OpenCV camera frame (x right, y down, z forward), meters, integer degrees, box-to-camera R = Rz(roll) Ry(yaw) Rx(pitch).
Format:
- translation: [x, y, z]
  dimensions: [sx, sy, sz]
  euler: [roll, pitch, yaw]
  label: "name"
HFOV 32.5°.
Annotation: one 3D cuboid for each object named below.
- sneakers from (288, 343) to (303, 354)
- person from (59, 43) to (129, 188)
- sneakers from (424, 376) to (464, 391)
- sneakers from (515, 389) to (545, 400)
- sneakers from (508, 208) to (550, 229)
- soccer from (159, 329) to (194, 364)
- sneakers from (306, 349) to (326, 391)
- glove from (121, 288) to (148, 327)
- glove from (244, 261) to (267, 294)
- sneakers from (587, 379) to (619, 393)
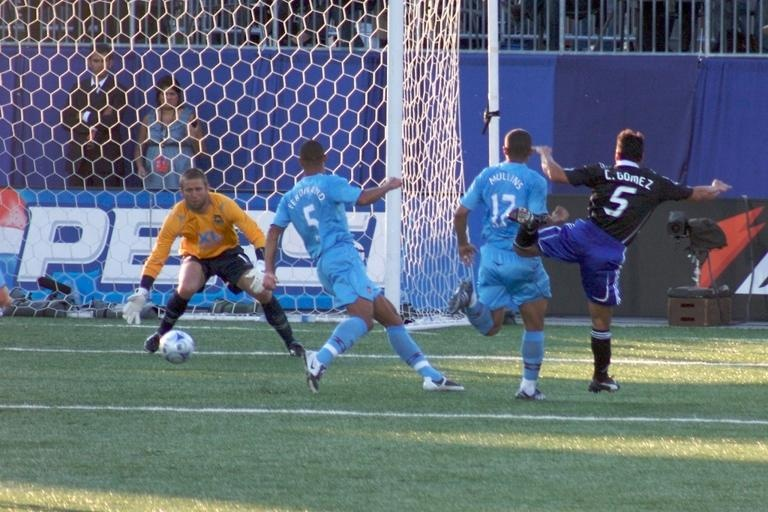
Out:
- translation: [-0.925, 0.987, 13.751]
  dimensions: [0.106, 0.142, 0.042]
  euler: [-6, -21, -7]
  label: "sneakers"
- translation: [-3.820, -1.825, 17.291]
  dimensions: [0.821, 1.820, 0.761]
  euler: [0, 2, -15]
  label: "person"
- translation: [0.576, 1.221, 12.485]
  dimensions: [0.371, 0.139, 0.145]
  euler: [0, -1, -1]
  label: "sneakers"
- translation: [1.384, 1.303, 12.347]
  dimensions: [0.219, 0.093, 0.112]
  euler: [-1, -2, -6]
  label: "sneakers"
- translation: [1.341, -0.351, 12.221]
  dimensions: [0.456, 0.155, 0.192]
  euler: [-9, 5, -2]
  label: "sneakers"
- translation: [-2.093, 0.968, 13.100]
  dimensions: [0.362, 0.314, 0.310]
  euler: [17, -13, -7]
  label: "soccer"
- translation: [-0.656, 1.069, 12.219]
  dimensions: [0.186, 0.410, 0.139]
  euler: [-10, 1, 9]
  label: "sneakers"
- translation: [-2.523, 0.514, 13.329]
  dimensions: [0.223, 0.372, 0.346]
  euler: [1, 2, 3]
  label: "glove"
- translation: [-1.238, 0.244, 13.084]
  dimensions: [0.123, 0.302, 0.307]
  euler: [-9, -25, -17]
  label: "glove"
- translation: [2.126, 1.268, 12.695]
  dimensions: [0.294, 0.147, 0.114]
  euler: [-1, -3, -6]
  label: "sneakers"
